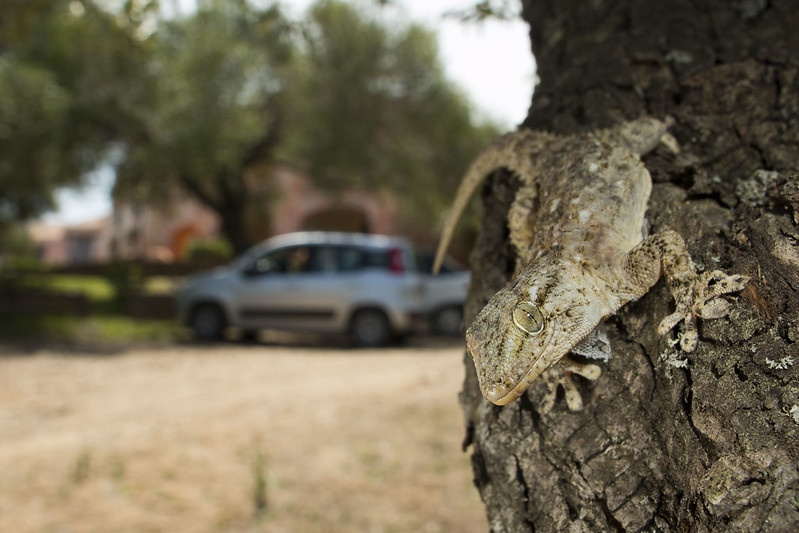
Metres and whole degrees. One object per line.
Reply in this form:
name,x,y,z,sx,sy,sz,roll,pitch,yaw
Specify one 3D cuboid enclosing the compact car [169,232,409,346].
compact car,-0.665,0.119,7.353,1.356,0.750,0.848,3,3,-3
